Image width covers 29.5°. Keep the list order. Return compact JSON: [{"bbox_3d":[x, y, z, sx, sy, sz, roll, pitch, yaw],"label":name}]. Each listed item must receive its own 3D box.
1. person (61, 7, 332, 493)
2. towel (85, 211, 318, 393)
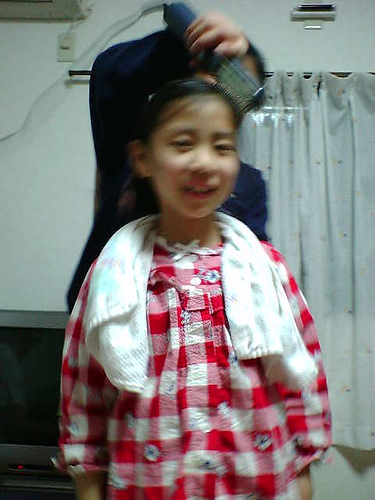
[{"bbox_3d":[0.017,-0.013,1.306,0.470,0.706,0.294,-1,0,7],"label":"person"},{"bbox_3d":[0.002,0.103,1.171,0.358,0.303,0.091,-3,-27,-2],"label":"towel"}]
